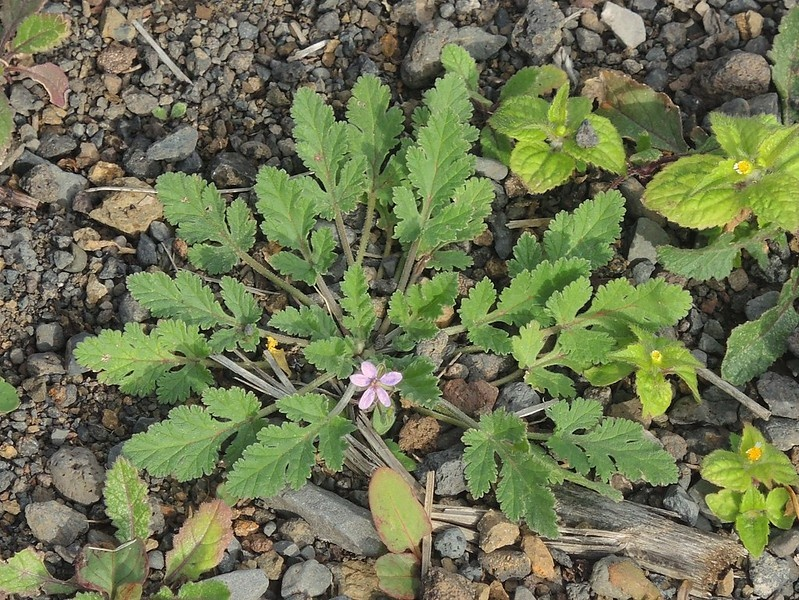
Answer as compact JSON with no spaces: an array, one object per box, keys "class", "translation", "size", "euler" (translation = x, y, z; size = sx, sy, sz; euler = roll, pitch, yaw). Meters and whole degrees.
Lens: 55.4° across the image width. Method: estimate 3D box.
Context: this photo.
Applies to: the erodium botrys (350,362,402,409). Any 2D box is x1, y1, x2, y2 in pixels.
[{"class":"erodium botrys","translation":[-0.096,0.369,3.547],"size":[0.283,0.343,0.124],"euler":[-1,104,20]}]
